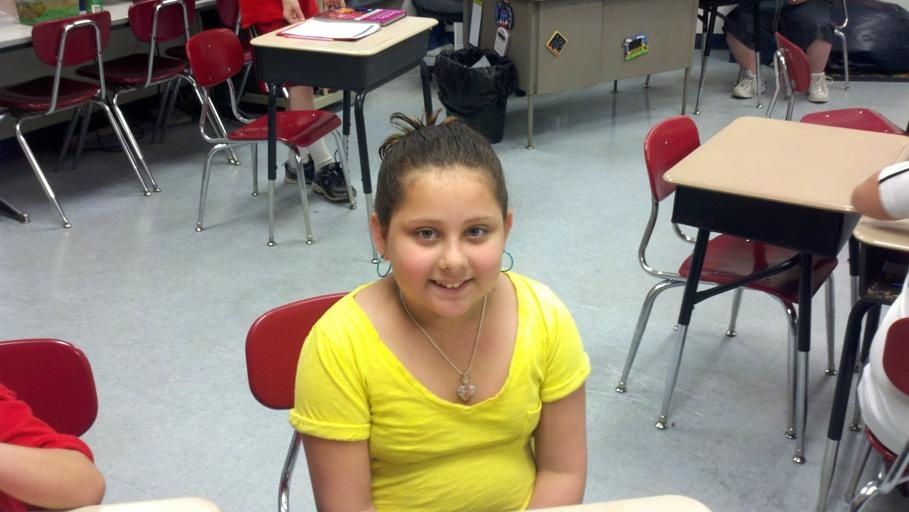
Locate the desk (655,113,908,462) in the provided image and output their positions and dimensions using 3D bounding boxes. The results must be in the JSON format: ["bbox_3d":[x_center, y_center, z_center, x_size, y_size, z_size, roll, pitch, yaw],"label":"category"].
[{"bbox_3d":[1.542,0.150,3.651,1.314,1.780,1.951,14,31,31],"label":"desk"}]

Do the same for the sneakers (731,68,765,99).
[{"bbox_3d":[2.774,-1.623,6.066,0.182,0.198,0.425,23,49,35],"label":"sneakers"}]

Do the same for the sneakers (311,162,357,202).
[{"bbox_3d":[-0.866,-0.516,4.571,0.209,0.177,0.350,-30,49,-31],"label":"sneakers"}]
